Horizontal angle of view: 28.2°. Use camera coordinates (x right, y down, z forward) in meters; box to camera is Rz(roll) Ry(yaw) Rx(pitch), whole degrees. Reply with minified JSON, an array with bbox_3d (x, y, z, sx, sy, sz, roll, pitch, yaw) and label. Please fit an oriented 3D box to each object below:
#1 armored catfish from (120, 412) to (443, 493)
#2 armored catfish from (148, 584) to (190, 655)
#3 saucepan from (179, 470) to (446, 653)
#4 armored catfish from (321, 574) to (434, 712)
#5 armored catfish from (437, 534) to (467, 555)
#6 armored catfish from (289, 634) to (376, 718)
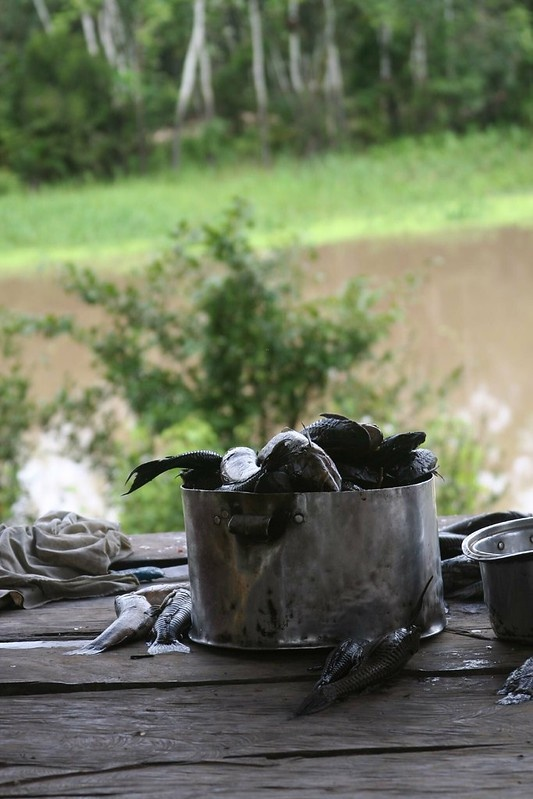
[{"bbox_3d":[0.042,0.131,2.156,0.557,0.203,0.243,-3,-1,-2],"label":"armored catfish"},{"bbox_3d":[-0.188,0.462,2.161,0.047,0.053,0.130,29,21,-2],"label":"armored catfish"},{"bbox_3d":[0.096,0.325,2.244,0.518,0.304,0.491,-3,1,-8],"label":"saucepan"},{"bbox_3d":[0.190,0.445,1.852,0.064,0.057,0.347,-9,6,34],"label":"armored catfish"},{"bbox_3d":[0.471,0.370,2.683,0.061,0.020,0.056,1,2,-4],"label":"armored catfish"},{"bbox_3d":[0.113,0.463,1.778,0.056,0.039,0.204,-23,3,30],"label":"armored catfish"}]
